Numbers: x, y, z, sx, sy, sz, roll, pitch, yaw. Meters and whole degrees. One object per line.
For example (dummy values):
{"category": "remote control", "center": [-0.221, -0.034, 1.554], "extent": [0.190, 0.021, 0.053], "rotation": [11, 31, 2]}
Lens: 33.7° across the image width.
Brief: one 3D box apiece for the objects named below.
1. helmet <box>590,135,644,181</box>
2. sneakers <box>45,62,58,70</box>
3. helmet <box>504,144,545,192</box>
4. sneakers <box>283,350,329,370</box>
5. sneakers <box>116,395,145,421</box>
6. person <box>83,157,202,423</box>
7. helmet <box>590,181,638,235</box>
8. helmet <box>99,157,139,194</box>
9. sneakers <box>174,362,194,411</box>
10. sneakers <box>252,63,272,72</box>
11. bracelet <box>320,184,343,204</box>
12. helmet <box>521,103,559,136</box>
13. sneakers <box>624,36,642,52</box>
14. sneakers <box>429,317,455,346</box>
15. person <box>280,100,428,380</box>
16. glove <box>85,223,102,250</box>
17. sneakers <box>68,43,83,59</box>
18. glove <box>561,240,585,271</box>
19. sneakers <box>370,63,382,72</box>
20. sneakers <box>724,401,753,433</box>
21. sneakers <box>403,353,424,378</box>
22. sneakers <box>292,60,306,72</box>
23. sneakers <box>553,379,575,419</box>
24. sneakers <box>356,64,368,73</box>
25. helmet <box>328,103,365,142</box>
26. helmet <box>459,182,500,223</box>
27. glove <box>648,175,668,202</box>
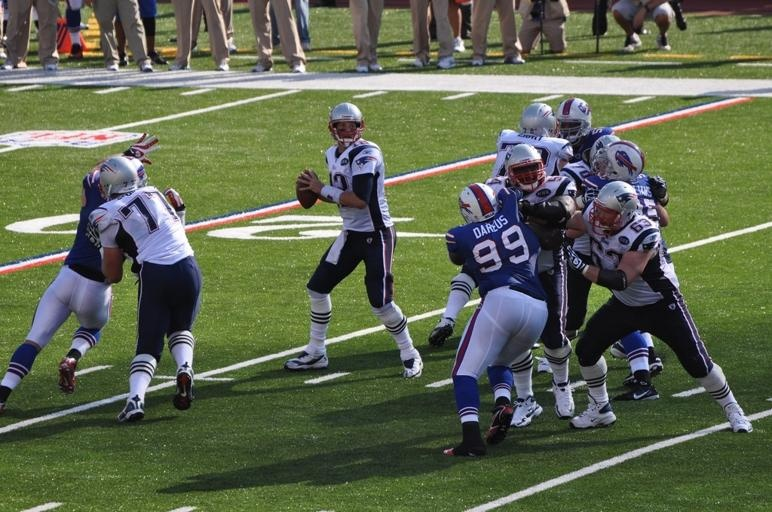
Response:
{"category": "helmet", "center": [1.975, -0.824, 10.924], "extent": [0.445, 0.305, 0.335], "rotation": [12, 17, -17]}
{"category": "sneakers", "center": [-6.113, -3.458, 23.462], "extent": [0.093, 0.102, 0.249], "rotation": [-7, 5, -37]}
{"category": "helmet", "center": [1.173, -0.766, 10.838], "extent": [0.335, 0.363, 0.459], "rotation": [-10, 9, -9]}
{"category": "sneakers", "center": [-0.724, 0.962, 11.808], "extent": [0.423, 0.177, 0.156], "rotation": [0, 13, -11]}
{"category": "sneakers", "center": [-2.139, 1.297, 10.799], "extent": [0.220, 0.248, 0.212], "rotation": [-5, 10, -14]}
{"category": "person", "center": [-1.993, 0.419, 10.875], "extent": [0.844, 1.935, 0.836], "rotation": [-3, 10, -4]}
{"category": "helmet", "center": [1.901, -0.417, 10.385], "extent": [0.431, 0.368, 0.311], "rotation": [-13, 19, -20]}
{"category": "helmet", "center": [-2.277, -0.706, 11.067], "extent": [0.348, 0.327, 0.279], "rotation": [12, 17, 32]}
{"category": "sneakers", "center": [-1.652, 1.094, 10.688], "extent": [0.155, 0.359, 0.182], "rotation": [4, -6, -9]}
{"category": "sneakers", "center": [-2.141, -3.267, 22.325], "extent": [0.373, 0.126, 0.153], "rotation": [0, -2, 17]}
{"category": "bracelet", "center": [-0.478, -0.550, 11.514], "extent": [0.213, 0.124, 0.092], "rotation": [25, 20, 34]}
{"category": "helmet", "center": [1.413, -1.263, 11.852], "extent": [0.333, 0.351, 0.440], "rotation": [10, 13, 33]}
{"category": "sneakers", "center": [4.460, -3.866, 23.353], "extent": [0.181, 0.239, 0.543], "rotation": [-5, 13, 33]}
{"category": "sneakers", "center": [0.501, 0.657, 11.011], "extent": [0.168, 0.106, 0.275], "rotation": [-40, 2, 36]}
{"category": "person", "center": [-0.292, -0.148, 11.682], "extent": [1.201, 2.459, 0.727], "rotation": [-2, 10, 4]}
{"category": "glove", "center": [-2.476, -0.156, 10.949], "extent": [0.085, 0.209, 0.162], "rotation": [-16, 14, 3]}
{"category": "sneakers", "center": [-6.029, -4.019, 25.088], "extent": [0.307, 0.285, 0.253], "rotation": [-3, 20, -6]}
{"category": "glove", "center": [1.534, 0.020, 10.393], "extent": [0.158, 0.215, 0.285], "rotation": [-6, 10, -19]}
{"category": "sneakers", "center": [-0.145, -3.237, 21.988], "extent": [0.216, 0.123, 0.145], "rotation": [3, 1, 17]}
{"category": "sneakers", "center": [2.866, 1.308, 10.373], "extent": [0.218, 0.237, 0.158], "rotation": [0, 10, 16]}
{"category": "sneakers", "center": [0.250, 0.997, 11.548], "extent": [0.204, 0.220, 0.494], "rotation": [-2, -4, 1]}
{"category": "sneakers", "center": [-1.464, -3.273, 22.155], "extent": [0.176, 0.198, 0.336], "rotation": [5, 12, 39]}
{"category": "sneakers", "center": [1.508, 1.232, 10.786], "extent": [0.137, 0.351, 0.150], "rotation": [-7, -22, 5]}
{"category": "sneakers", "center": [-0.383, -3.206, 21.949], "extent": [0.219, 0.120, 0.152], "rotation": [-1, 10, 5]}
{"category": "helmet", "center": [-0.348, -1.166, 11.652], "extent": [0.339, 0.350, 0.420], "rotation": [-1, -8, -10]}
{"category": "helmet", "center": [0.758, -0.456, 10.489], "extent": [0.261, 0.270, 0.338], "rotation": [-15, 21, -10]}
{"category": "glove", "center": [2.363, -0.556, 10.973], "extent": [0.097, 0.212, 0.161], "rotation": [-23, 32, -20]}
